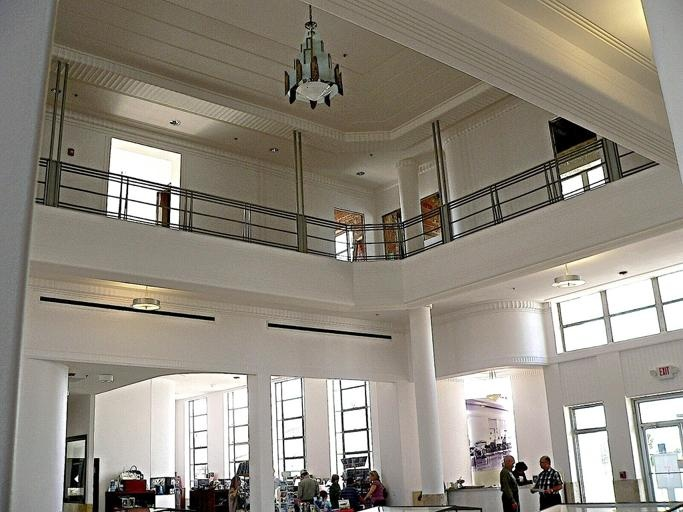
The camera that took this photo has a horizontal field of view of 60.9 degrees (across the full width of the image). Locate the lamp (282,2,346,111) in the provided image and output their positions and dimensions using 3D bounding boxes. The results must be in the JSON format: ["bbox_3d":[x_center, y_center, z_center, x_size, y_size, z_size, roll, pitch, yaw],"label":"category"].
[{"bbox_3d":[-0.492,-3.360,9.652,0.874,2.581,1.842,-2,-22,-3],"label":"lamp"}]

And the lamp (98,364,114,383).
[{"bbox_3d":[-4.916,2.457,12.210,0.338,0.143,1.826,6,-25,-21],"label":"lamp"}]

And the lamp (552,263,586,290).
[{"bbox_3d":[4.619,0.443,11.987,0.525,0.426,0.755,-11,-24,18],"label":"lamp"}]
